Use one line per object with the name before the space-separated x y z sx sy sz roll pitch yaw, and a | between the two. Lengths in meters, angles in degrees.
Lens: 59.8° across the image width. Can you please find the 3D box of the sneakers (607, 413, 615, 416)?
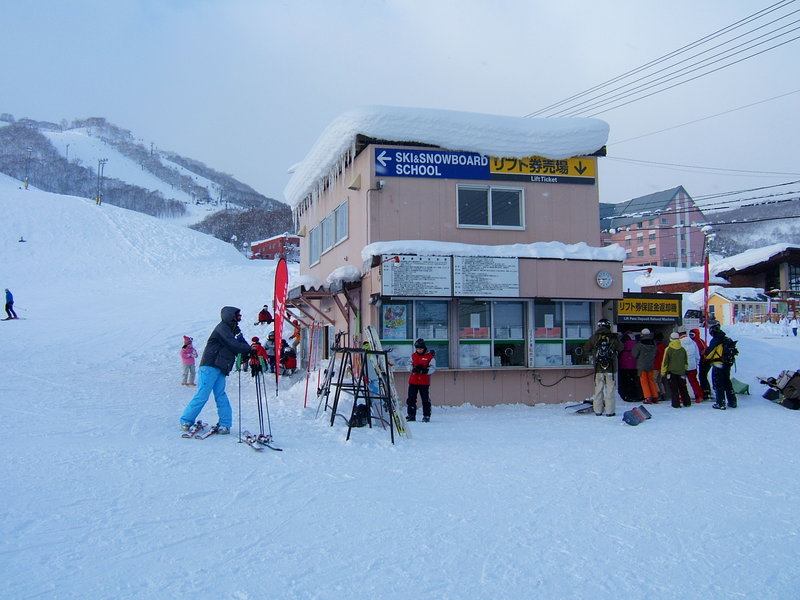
sneakers | 4.683 2.551 15.452 0.107 0.044 0.083 -3 -4 25

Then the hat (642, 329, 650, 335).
hat | 5.902 0.758 16.741 0.163 0.149 0.243 -1 -4 -6

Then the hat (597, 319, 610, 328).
hat | 4.659 0.525 15.911 0.217 0.262 0.317 0 -20 9

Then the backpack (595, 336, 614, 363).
backpack | 4.562 1.146 15.526 0.355 0.598 0.209 -4 -15 39

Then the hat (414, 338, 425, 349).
hat | 0.437 0.923 14.888 0.149 0.180 0.217 2 -14 -7

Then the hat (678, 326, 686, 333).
hat | 7.103 0.737 17.533 0.150 0.165 0.155 2 -2 -26

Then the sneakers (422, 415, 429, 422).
sneakers | 0.568 2.580 15.157 0.078 0.125 0.044 0 33 8

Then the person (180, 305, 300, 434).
person | -3.504 1.393 13.240 1.376 2.462 1.082 -4 10 -30

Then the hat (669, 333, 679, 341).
hat | 6.480 0.856 16.409 0.149 0.100 0.233 -6 -6 7

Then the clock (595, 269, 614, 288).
clock | 5.125 -0.527 17.409 0.525 0.484 0.127 -3 9 -22

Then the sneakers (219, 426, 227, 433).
sneakers | -3.304 2.425 12.982 0.203 0.113 0.081 -4 10 -28

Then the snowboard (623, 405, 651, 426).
snowboard | 4.991 2.439 14.708 0.687 0.270 0.455 -6 12 -35
